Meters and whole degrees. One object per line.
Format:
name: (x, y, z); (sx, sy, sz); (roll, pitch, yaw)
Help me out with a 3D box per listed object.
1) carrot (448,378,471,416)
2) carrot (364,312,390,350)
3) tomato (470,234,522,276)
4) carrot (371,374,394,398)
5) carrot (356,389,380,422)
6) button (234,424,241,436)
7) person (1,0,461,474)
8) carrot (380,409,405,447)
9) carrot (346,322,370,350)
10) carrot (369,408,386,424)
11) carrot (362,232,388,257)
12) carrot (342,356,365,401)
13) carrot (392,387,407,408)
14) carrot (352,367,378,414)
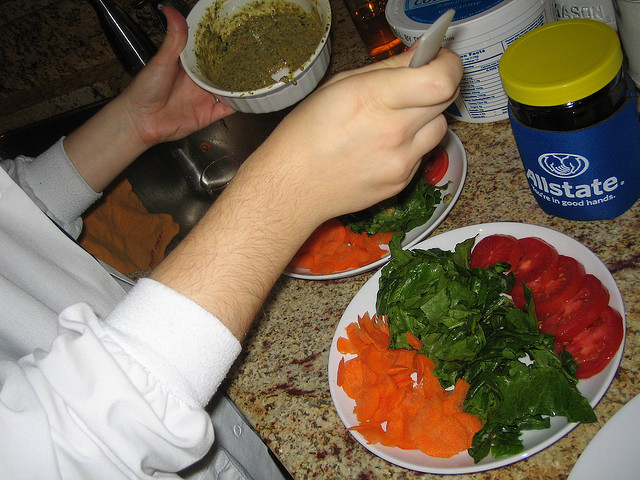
carrot: (0.225, 0.254, 0.867); (0.021, 0.019, 0.077); (21, 81, 21)
carrot: (0.101, 0.158, 0.968); (0.020, 0.025, 0.085); (-14, 38, -19)
tomato: (0.301, 0.014, 1.001); (0.083, 0.057, 0.127); (22, 28, 32)
carrot: (0.111, 0.250, 0.911); (0.026, 0.013, 0.037); (-15, 47, 27)
carrot: (0.081, 0.277, 0.899); (0.035, 0.011, 0.048); (-40, 24, 43)
button: (-0.156, 0.361, 1.014); (0.003, 0.016, 0.018); (-9, 84, 40)
person: (-0.202, 0.001, 1.120); (0.809, 0.710, 0.794); (-43, 53, -11)
carrot: (0.124, 0.305, 0.874); (0.041, 0.014, 0.071); (-5, 36, 23)
carrot: (0.073, 0.176, 0.972); (0.028, 0.009, 0.045); (-14, 61, -31)
carrot: (0.095, 0.297, 0.895); (0.019, 0.006, 0.020); (-30, 29, 8)
carrot: (0.111, 0.015, 1.136); (0.032, 0.007, 0.058); (-28, 48, -5)
carrot: (0.059, 0.243, 0.940); (0.046, 0.009, 0.059); (-10, 66, 43)
carrot: (0.134, 0.265, 0.900); (0.016, 0.007, 0.029); (7, 57, 55)
carrot: (0.085, 0.266, 0.945); (0.041, 0.012, 0.066); (-31, 34, 57)
